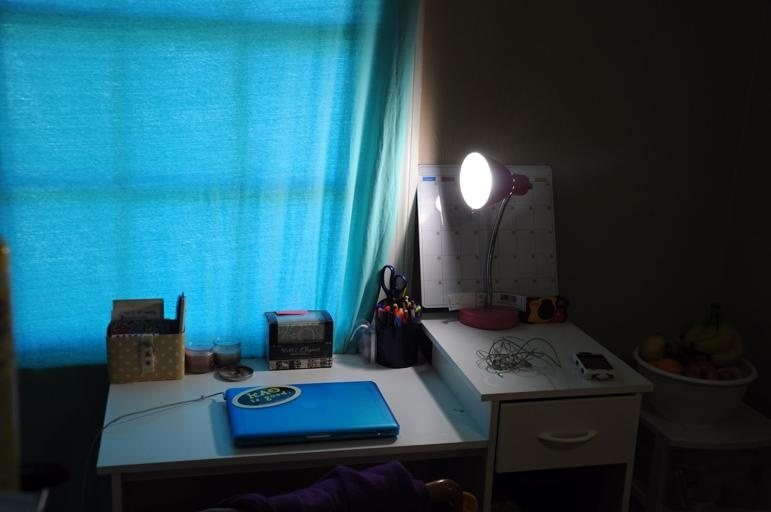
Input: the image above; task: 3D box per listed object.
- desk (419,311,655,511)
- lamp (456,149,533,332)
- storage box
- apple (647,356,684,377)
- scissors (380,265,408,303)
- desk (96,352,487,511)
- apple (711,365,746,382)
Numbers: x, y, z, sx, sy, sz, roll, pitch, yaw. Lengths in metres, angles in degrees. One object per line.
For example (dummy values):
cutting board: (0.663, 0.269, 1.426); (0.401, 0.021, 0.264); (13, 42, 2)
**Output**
desk: (0.504, 0.457, 2.136); (0.577, 0.458, 0.770); (-1, 6, -6)
lamp: (0.416, -0.054, 2.301); (0.281, 0.694, 0.320); (-2, 7, 6)
storage box: (-0.835, 0.314, 2.226); (0.343, 0.347, 0.259); (2, 3, -13)
apple: (1.063, 0.410, 2.222); (0.075, 0.067, 0.075); (9, 20, 44)
scissors: (0.024, 0.119, 2.310); (0.038, 0.226, 0.149); (-1, -1, 19)
desk: (-0.325, 0.591, 1.977); (1.149, 0.285, 0.630); (-5, 7, -18)
apple: (1.274, 0.446, 2.179); (0.103, 0.037, 0.087); (1, 7, 29)
